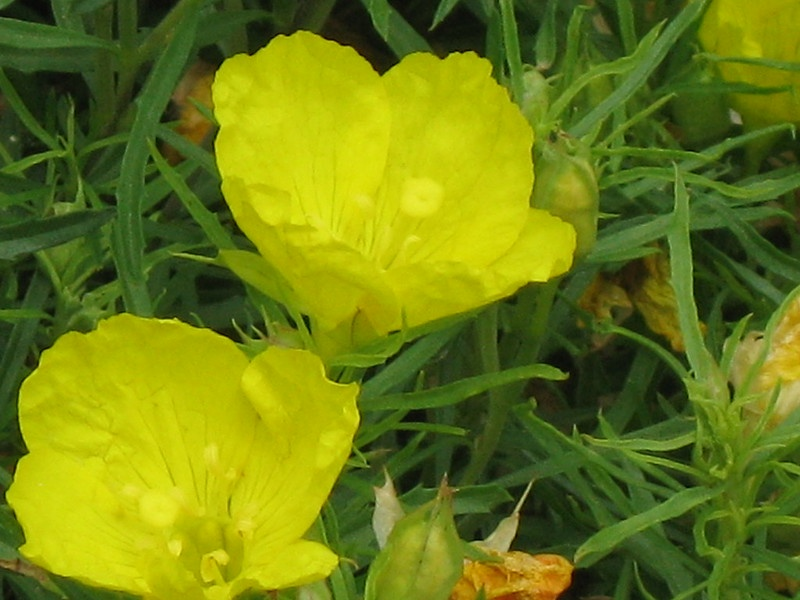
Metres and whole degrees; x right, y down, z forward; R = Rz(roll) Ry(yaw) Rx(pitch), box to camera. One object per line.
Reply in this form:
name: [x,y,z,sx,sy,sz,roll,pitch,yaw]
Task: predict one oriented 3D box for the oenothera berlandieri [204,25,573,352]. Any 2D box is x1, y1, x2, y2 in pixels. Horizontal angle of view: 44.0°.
oenothera berlandieri: [-0.014,-0.070,0.636,0.201,0.109,0.205,-6,57,-18]
